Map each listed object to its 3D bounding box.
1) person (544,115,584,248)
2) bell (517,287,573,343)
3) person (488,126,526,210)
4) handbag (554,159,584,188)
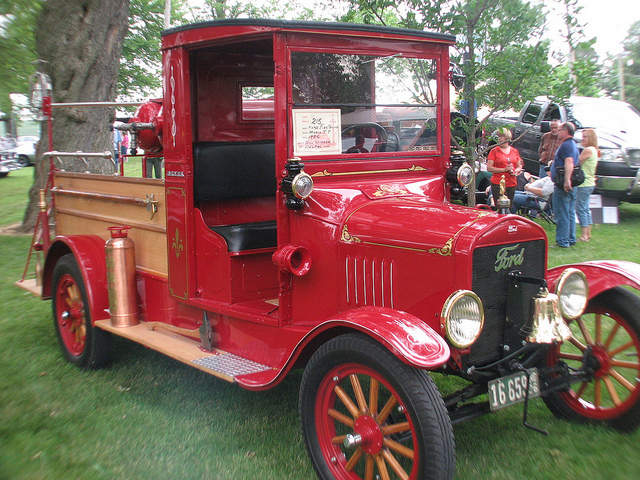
[{"bbox_3d":[4.138,-0.954,8.109,0.618,2.152,0.701,2,0,33],"label":"person"},{"bbox_3d":[1.411,0.471,2.915,0.293,0.374,0.257,-3,13,-4],"label":"bell"},{"bbox_3d":[3.439,-1.140,8.628,0.633,1.761,0.527,-7,16,-5],"label":"person"},{"bbox_3d":[4.139,-1.082,7.813,0.448,0.421,0.292,-4,3,27],"label":"handbag"}]
